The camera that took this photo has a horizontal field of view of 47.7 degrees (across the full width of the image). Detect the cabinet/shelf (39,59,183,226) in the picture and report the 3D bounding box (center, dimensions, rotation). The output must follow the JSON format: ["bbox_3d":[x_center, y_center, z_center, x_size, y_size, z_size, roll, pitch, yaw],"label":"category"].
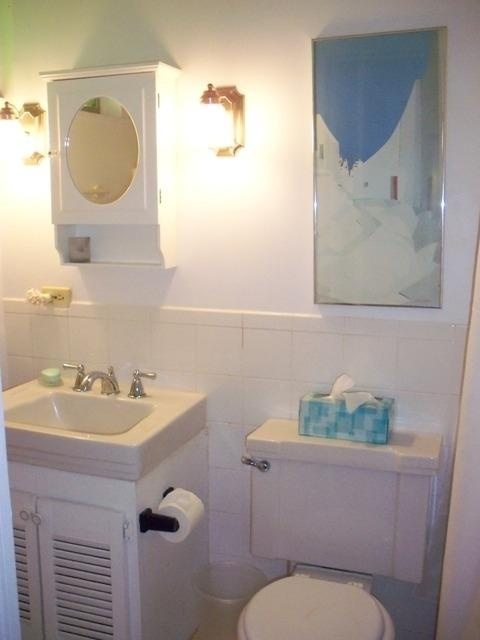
[{"bbox_3d":[-0.378,-0.538,1.652,0.441,0.594,0.221,3,9,15],"label":"cabinet/shelf"}]

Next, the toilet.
[{"bbox_3d":[0.263,0.540,1.492,0.430,0.590,0.571,1,4,20],"label":"toilet"}]

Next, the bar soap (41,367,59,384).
[{"bbox_3d":[-0.660,0.181,1.871,0.048,0.032,0.049,17,17,35],"label":"bar soap"}]

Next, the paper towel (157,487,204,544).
[{"bbox_3d":[-0.153,0.535,1.464,0.090,0.105,0.116,-19,-11,20],"label":"paper towel"}]

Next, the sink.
[{"bbox_3d":[-0.385,0.314,1.571,0.393,0.089,0.292,2,5,19],"label":"sink"}]

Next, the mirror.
[{"bbox_3d":[-0.416,-0.520,1.659,0.208,0.329,0.008,0,-6,-9],"label":"mirror"}]
